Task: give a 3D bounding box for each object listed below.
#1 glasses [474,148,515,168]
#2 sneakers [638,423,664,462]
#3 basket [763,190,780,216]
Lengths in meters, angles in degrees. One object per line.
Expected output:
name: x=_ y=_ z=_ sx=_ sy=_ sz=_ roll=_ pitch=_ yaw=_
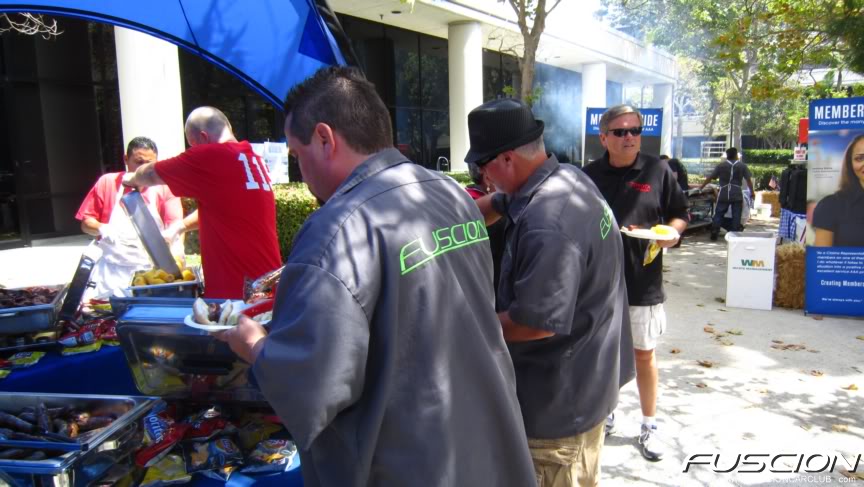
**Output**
glasses: x=0.436 y=-0.648 z=4.605 sx=0.176 sy=0.059 sz=0.168 roll=-24 pitch=5 yaw=-6
sneakers: x=2.279 y=2.026 z=6.232 sx=0.267 sy=0.227 sz=0.564 roll=-3 pitch=18 yaw=14
basket: x=11.722 y=-1.389 z=20.745 sx=0.470 sy=0.691 sz=1.381 roll=3 pitch=11 yaw=26
